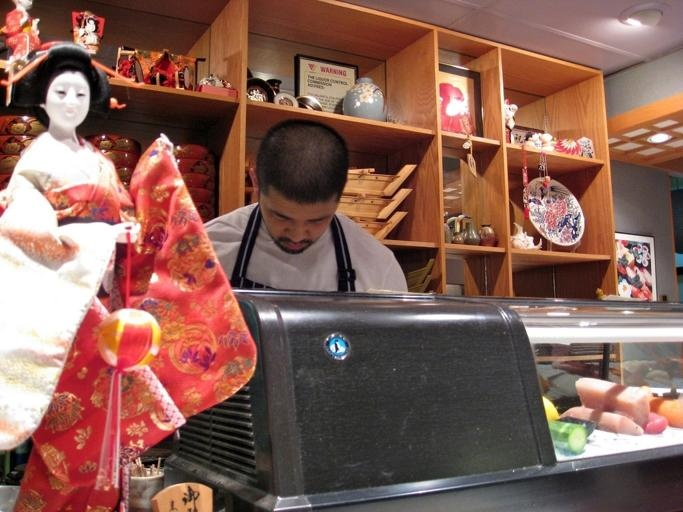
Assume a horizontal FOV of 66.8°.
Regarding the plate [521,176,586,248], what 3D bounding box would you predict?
[{"bbox_3d":[1.210,-0.246,2.915,0.090,0.397,0.392,-17,25,50],"label":"plate"}]
